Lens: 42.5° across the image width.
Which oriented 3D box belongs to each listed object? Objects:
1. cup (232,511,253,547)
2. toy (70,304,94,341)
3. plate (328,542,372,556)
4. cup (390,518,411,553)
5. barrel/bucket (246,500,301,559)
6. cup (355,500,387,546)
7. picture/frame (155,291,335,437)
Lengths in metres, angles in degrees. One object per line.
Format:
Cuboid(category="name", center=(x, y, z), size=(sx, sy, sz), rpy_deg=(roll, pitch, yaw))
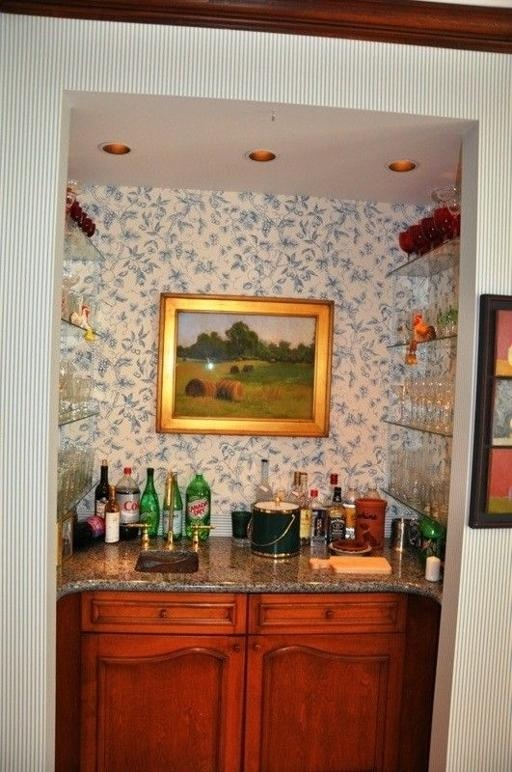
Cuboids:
Cuboid(category="cup", center=(-0.055, 0.604, 2.764), size=(0.106, 0.122, 0.106), rpy_deg=(1, -1, 0))
Cuboid(category="toy", center=(-0.655, -0.239, 2.520), size=(0.068, 0.040, 0.107), rpy_deg=(5, -35, -21))
Cuboid(category="plate", center=(0.369, 0.638, 2.580), size=(0.174, 0.057, 0.161), rpy_deg=(2, -1, 7))
Cuboid(category="cup", center=(0.598, 0.618, 2.709), size=(0.118, 0.121, 0.075), rpy_deg=(1, -3, 4))
Cuboid(category="barrel/bucket", center=(0.082, 0.540, 2.534), size=(0.186, 0.207, 0.200), rpy_deg=(2, 3, 0))
Cuboid(category="cup", center=(0.475, 0.563, 2.750), size=(0.136, 0.203, 0.124), rpy_deg=(2, 7, 0))
Cuboid(category="picture/frame", center=(-0.074, -0.102, 2.854), size=(0.601, 0.527, 0.052), rpy_deg=(1, 2, -3))
